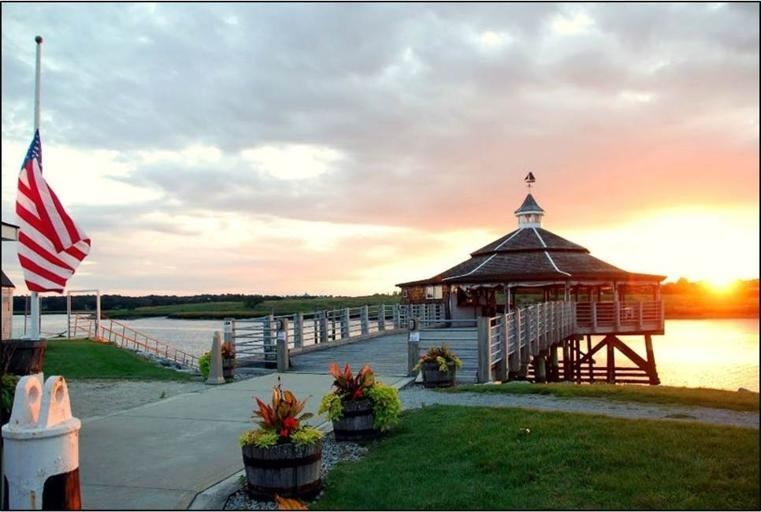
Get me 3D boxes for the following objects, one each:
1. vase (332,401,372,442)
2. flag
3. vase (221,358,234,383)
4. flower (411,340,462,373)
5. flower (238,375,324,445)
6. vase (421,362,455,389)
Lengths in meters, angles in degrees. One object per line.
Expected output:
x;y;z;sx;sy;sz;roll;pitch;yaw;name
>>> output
-0.492;3.181;11.095;0.775;0.530;0.723;8;-13;-27;vase
-6.780;-0.749;11.803;1.264;2.995;1.085;6;-6;-31;flag
-4.504;3.338;17.035;0.343;0.671;0.291;5;-5;-21;vase
1.599;2.808;15.844;0.893;0.548;0.942;1;-18;-1;flower
-1.607;2.497;9.505;1.265;0.930;1.341;4;-7;-18;flower
1.531;3.252;15.595;0.716;0.521;0.702;1;-16;-4;vase
